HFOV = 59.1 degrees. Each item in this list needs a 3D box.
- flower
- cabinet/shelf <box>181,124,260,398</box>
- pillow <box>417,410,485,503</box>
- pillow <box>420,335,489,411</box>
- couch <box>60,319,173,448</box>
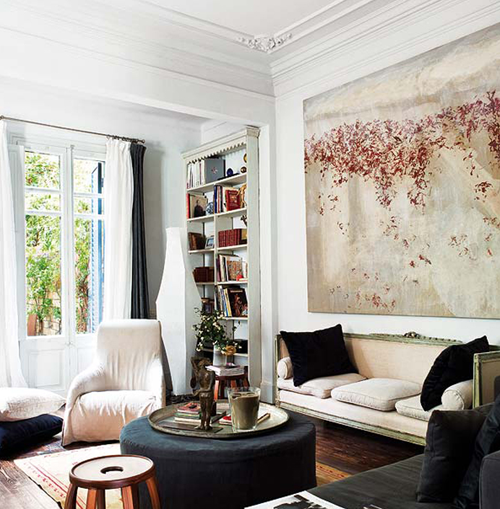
[{"bbox_3d":[-0.391,0.880,4.689,0.551,0.644,0.546,-2,20,-5],"label":"flower"},{"bbox_3d":[-0.323,0.039,5.158,0.480,2.848,1.169,-1,-3,-33],"label":"cabinet/shelf"},{"bbox_3d":[0.658,0.630,1.406,0.276,0.196,0.104,-2,-3,-16],"label":"pillow"},{"bbox_3d":[1.242,0.724,2.676,0.445,0.285,0.126,-2,-3,-21],"label":"pillow"},{"bbox_3d":[-0.914,1.067,3.860,0.750,0.994,0.934,-1,-19,1],"label":"couch"}]
